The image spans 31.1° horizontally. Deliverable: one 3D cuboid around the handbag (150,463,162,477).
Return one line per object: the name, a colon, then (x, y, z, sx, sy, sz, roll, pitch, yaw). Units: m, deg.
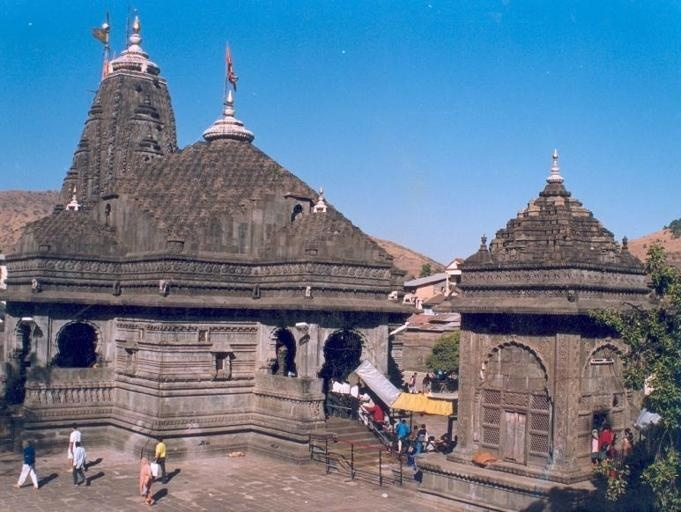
handbag: (-6.136, 7.027, 40.611, 0.414, 0.530, 0.729, -1, 1, -8)

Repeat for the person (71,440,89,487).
person: (-8.738, 6.908, 40.907, 0.469, 1.303, 0.804, -6, 13, -13)

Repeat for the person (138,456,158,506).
person: (-6.280, 7.112, 39.549, 0.468, 1.447, 1.309, -6, 13, -11)
